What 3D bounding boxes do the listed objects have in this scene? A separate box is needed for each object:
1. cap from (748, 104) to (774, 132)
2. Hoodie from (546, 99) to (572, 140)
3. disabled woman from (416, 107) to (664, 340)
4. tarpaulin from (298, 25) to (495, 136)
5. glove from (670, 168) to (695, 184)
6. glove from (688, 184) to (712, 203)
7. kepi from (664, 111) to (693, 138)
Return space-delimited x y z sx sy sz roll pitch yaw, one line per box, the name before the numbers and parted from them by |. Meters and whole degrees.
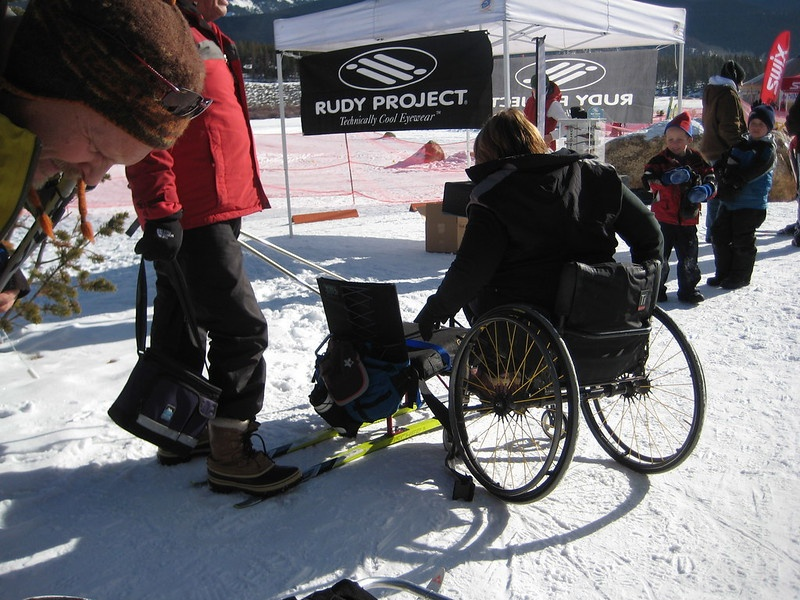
cap | 3.461 -1.767 5.912 0.247 0.294 0.321 8 21 28
Hoodie | 2.289 -2.551 8.568 0.157 0.484 0.173 -21 6 37
disabled woman | 0.715 -0.184 3.114 1.135 1.500 0.872 0 19 42
tarpaulin | -0.068 -2.544 7.282 2.404 1.015 0.173 3 16 23
glove | 2.519 -1.098 5.395 0.238 0.150 0.141 -7 15 -16
glove | 2.617 -0.924 5.293 0.141 0.085 0.182 -1 -1 -9
kepi | 2.502 -1.579 5.523 0.283 0.212 0.216 26 32 35
